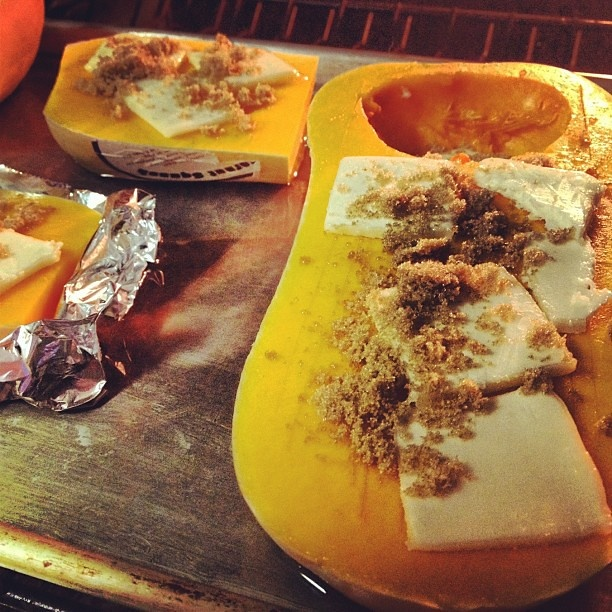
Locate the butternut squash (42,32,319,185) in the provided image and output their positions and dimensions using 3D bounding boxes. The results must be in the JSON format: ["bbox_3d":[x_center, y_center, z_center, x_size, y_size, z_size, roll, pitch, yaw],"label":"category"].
[{"bbox_3d":[-0.317,-0.458,1.883,0.674,0.146,0.311,5,57,2],"label":"butternut squash"}]

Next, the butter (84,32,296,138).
[{"bbox_3d":[-0.284,-0.546,1.952,0.428,0.106,0.325,25,57,17],"label":"butter"}]
